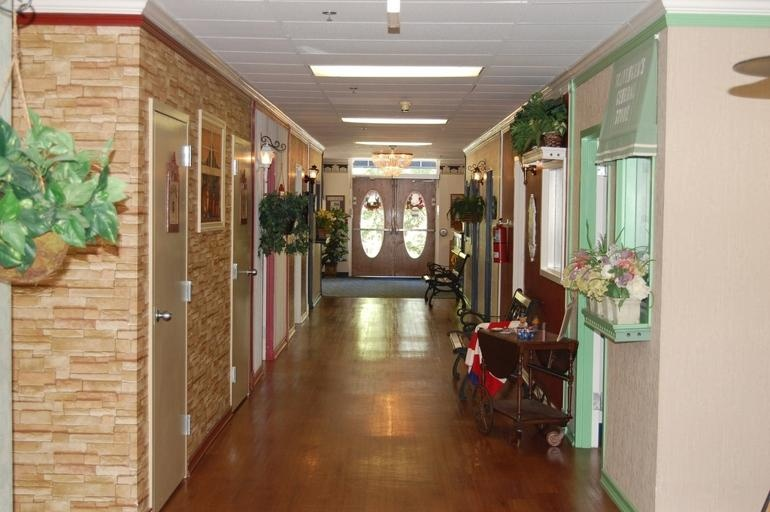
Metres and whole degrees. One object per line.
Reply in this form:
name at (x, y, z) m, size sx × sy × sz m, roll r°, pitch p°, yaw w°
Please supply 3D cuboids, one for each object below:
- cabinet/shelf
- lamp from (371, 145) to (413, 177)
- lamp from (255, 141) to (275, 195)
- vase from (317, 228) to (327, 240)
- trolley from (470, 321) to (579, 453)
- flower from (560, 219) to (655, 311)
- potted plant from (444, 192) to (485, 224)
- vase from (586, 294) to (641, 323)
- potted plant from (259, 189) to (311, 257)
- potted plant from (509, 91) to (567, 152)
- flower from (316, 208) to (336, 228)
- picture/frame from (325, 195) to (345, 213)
cabinet/shelf at (1.407, 1.181, 6.042) m, size 0.868 × 1.393 × 1.548 m, roll 1°, pitch 0°, yaw -4°
lamp at (0.259, -1.984, 12.038) m, size 0.728 × 0.553 × 0.716 m, roll -4°, pitch 7°, yaw -41°
lamp at (-1.530, -1.143, 7.449) m, size 0.188 × 0.641 × 0.672 m, roll -1°, pitch 7°, yaw -10°
vase at (-1.451, -0.514, 13.380) m, size 0.247 × 0.290 × 0.223 m, roll 0°, pitch -3°, yaw -1°
trolley at (1.382, 1.344, 5.880) m, size 0.600 × 0.968 × 1.095 m, roll 2°, pitch -4°, yaw -13°
flower at (1.676, 0.067, 4.308) m, size 0.530 × 0.410 × 0.552 m, roll 5°, pitch 36°, yaw 22°
potted plant at (1.469, -0.855, 10.278) m, size 0.554 × 0.393 × 0.565 m, roll -1°, pitch 5°, yaw -10°
vase at (1.679, 0.372, 4.285) m, size 0.240 × 0.197 × 0.421 m, roll -5°, pitch 9°, yaw -39°
potted plant at (-1.315, -0.433, 7.523) m, size 0.338 × 0.822 × 0.851 m, roll 4°, pitch 8°, yaw 30°
potted plant at (1.653, -1.432, 6.162) m, size 0.296 × 0.635 × 0.860 m, roll -1°, pitch 7°, yaw -11°
flower at (-1.381, -0.893, 13.578) m, size 0.432 × 0.510 × 0.558 m, roll 0°, pitch 6°, yaw -6°
picture/frame at (-1.325, -1.433, 15.450) m, size 0.607 × 0.585 × 0.208 m, roll 0°, pitch -2°, yaw -4°
